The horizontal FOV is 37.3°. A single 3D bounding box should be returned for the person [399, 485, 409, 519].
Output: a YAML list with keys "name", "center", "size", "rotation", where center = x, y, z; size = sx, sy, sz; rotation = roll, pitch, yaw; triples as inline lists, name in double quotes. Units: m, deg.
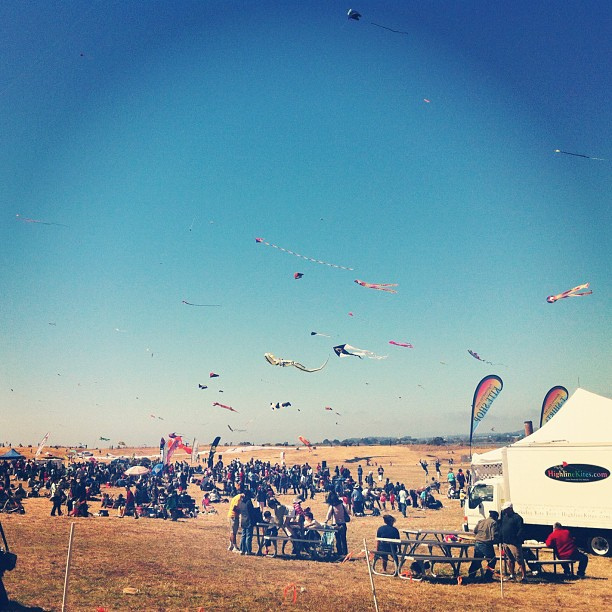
- name: "person"
  center: [4.166, 8.545, 38.898]
  size: [0.338, 1.121, 0.936]
  rotation: [-2, -14, 6]

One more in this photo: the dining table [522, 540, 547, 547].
- name: "dining table"
  center: [7.026, 7.367, 28.003]
  size: [0.643, 0.211, 0.747]
  rotation: [2, -9, -8]

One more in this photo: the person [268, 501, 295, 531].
- name: "person"
  center: [-0.820, 6.905, 29.786]
  size: [0.911, 1.497, 0.501]
  rotation: [-4, -16, 11]

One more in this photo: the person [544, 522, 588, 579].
- name: "person"
  center: [7.742, 7.248, 26.728]
  size: [1.246, 1.576, 0.798]
  rotation: [10, -17, -36]

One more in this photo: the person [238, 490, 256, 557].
- name: "person"
  center: [-1.900, 7.045, 29.188]
  size: [0.576, 2.045, 1.023]
  rotation: [1, -14, -4]

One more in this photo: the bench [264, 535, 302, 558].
- name: "bench"
  center: [-0.796, 7.717, 28.961]
  size: [1.050, 0.693, 1.644]
  rotation: [4, -16, -16]
